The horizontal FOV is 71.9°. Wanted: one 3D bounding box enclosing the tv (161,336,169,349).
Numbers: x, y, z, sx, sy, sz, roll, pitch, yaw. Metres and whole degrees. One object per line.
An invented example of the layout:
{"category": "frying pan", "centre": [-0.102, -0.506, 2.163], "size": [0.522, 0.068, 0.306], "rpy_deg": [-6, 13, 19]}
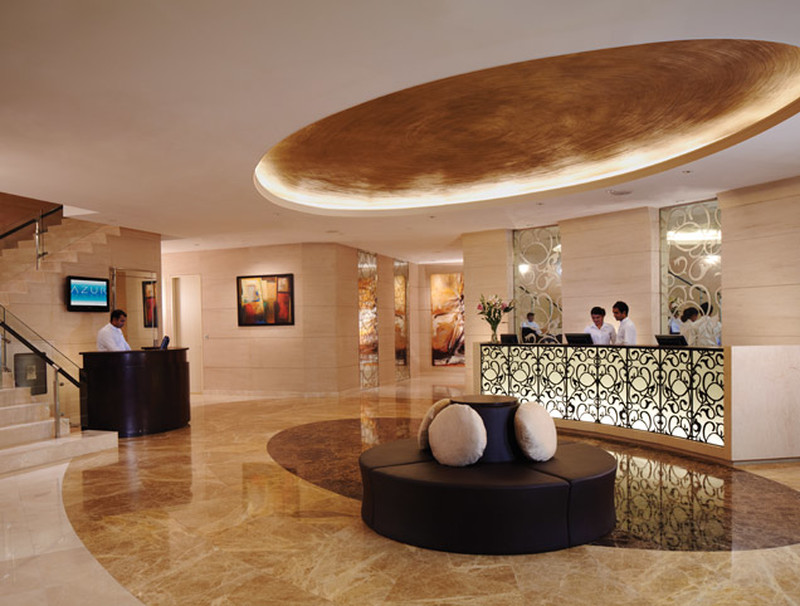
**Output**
{"category": "tv", "centre": [-3.995, 0.681, 9.359], "size": [0.092, 0.170, 1.071], "rpy_deg": [-2, 0, -21]}

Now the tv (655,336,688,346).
{"category": "tv", "centre": [3.510, 0.499, 7.128], "size": [0.150, 0.153, 0.432], "rpy_deg": [-2, 0, -27]}

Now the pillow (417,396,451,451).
{"category": "pillow", "centre": [0.277, 1.120, 5.117], "size": [0.178, 0.415, 0.445], "rpy_deg": [6, -14, 14]}

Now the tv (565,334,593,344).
{"category": "tv", "centre": [2.618, 0.543, 8.078], "size": [0.373, 0.166, 0.138], "rpy_deg": [-1, 1, 33]}

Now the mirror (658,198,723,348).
{"category": "mirror", "centre": [4.837, -0.484, 9.174], "size": [0.229, 2.349, 0.986], "rpy_deg": [-2, 1, -36]}

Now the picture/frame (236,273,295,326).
{"category": "picture/frame", "centre": [-3.093, -0.076, 12.849], "size": [1.226, 1.020, 0.082], "rpy_deg": [1, 3, 20]}

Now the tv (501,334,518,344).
{"category": "tv", "centre": [1.790, 0.610, 9.039], "size": [0.198, 0.182, 0.161], "rpy_deg": [-2, -29, 9]}

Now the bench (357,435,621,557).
{"category": "bench", "centre": [0.760, 1.648, 4.644], "size": [2.169, 0.605, 0.937], "rpy_deg": [-1, 0, -4]}

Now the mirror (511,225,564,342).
{"category": "mirror", "centre": [2.726, -0.432, 11.049], "size": [0.961, 2.141, 0.165], "rpy_deg": [-1, 1, 40]}

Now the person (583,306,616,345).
{"category": "person", "centre": [3.323, 0.386, 9.127], "size": [0.424, 0.730, 0.281], "rpy_deg": [-15, -23, 38]}

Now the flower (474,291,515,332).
{"category": "flower", "centre": [1.705, 0.164, 10.090], "size": [0.747, 0.743, 0.749], "rpy_deg": [-1, 0, 13]}

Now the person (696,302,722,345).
{"category": "person", "centre": [5.005, 0.338, 8.868], "size": [0.196, 0.698, 0.520], "rpy_deg": [-2, 1, -5]}
